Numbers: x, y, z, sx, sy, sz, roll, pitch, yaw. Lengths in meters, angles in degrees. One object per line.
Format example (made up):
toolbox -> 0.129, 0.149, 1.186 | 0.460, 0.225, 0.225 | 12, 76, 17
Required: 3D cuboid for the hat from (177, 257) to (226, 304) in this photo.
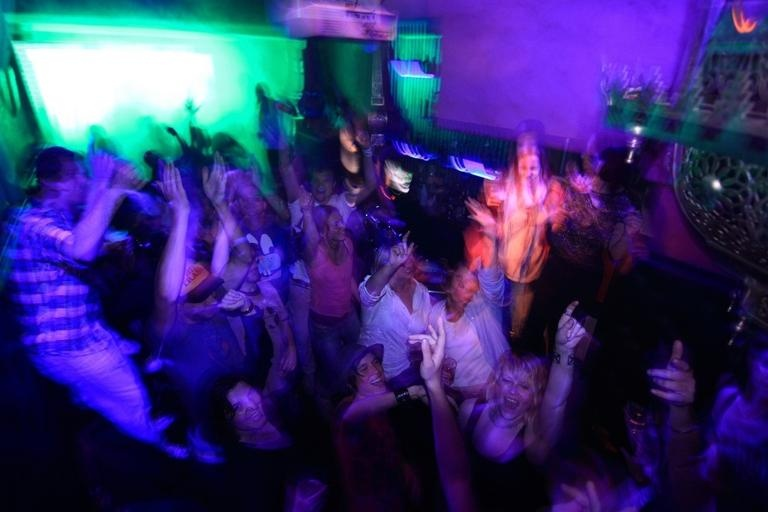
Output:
hat -> -1.533, 0.224, 4.645 | 0.336, 0.151, 0.242 | 15, 62, 19
